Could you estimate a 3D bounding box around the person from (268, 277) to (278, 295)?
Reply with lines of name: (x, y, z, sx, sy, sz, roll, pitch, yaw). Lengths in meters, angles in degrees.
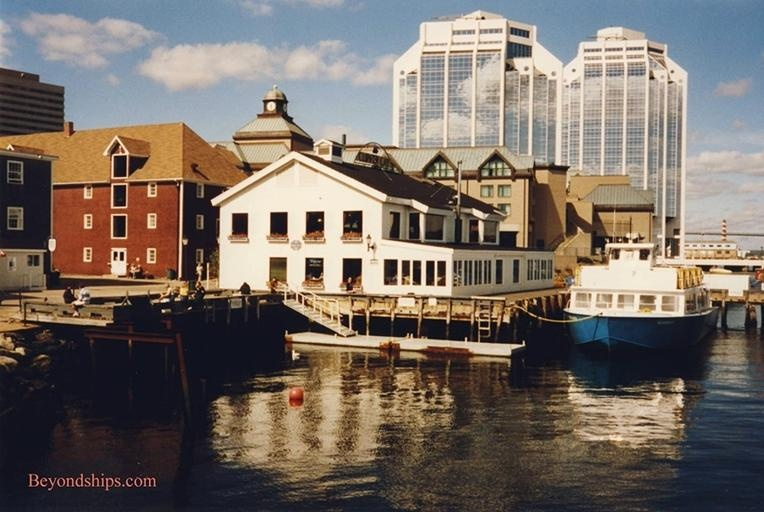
person: (-9.697, 2.578, 104.879, 0.788, 1.312, 1.566, 0, -3, -9)

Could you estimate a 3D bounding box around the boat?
boat: (22.268, 3.738, 98.901, 12.713, 9.847, 7.472, 2, -4, -40)

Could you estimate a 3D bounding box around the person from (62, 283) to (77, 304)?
person: (-25.337, 3.103, 95.393, 1.111, 1.803, 1.067, 3, 5, 27)

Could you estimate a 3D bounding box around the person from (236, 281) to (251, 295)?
person: (-11.872, 2.853, 101.251, 1.046, 1.081, 1.050, -2, -1, 9)
